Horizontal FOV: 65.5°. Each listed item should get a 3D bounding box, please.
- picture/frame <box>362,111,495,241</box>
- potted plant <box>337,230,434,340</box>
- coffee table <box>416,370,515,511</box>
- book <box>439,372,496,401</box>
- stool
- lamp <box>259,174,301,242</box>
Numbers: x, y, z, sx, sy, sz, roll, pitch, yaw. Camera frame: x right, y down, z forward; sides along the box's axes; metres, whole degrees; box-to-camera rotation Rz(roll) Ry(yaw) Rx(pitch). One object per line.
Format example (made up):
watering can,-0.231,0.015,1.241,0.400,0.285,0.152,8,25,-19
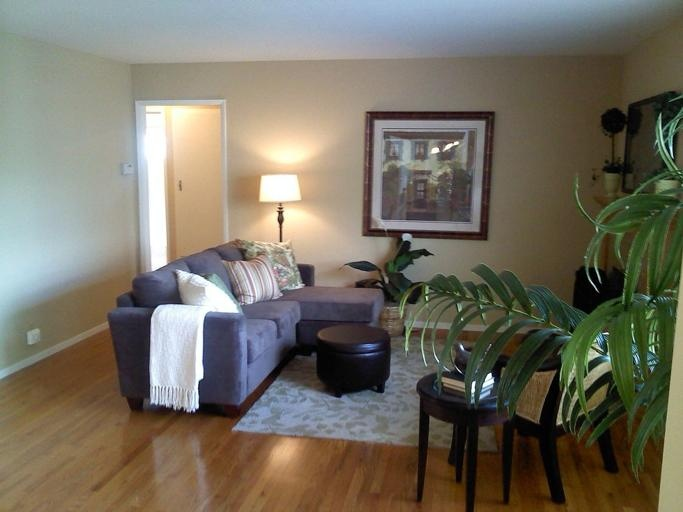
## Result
picture/frame,0.941,-0.872,5.468,1.273,1.324,0.106,2,12,4
potted plant,0.527,0.346,5.418,0.702,0.908,0.922,-9,8,-8
coffee table,0.648,0.948,2.835,0.515,0.697,0.511,7,14,26
book,0.617,0.655,2.729,0.268,0.095,0.273,3,7,27
stool,0.108,0.820,4.193,0.566,0.428,0.572,-1,8,-2
lamp,-0.632,-0.493,5.598,0.411,0.718,0.452,-1,13,-4
